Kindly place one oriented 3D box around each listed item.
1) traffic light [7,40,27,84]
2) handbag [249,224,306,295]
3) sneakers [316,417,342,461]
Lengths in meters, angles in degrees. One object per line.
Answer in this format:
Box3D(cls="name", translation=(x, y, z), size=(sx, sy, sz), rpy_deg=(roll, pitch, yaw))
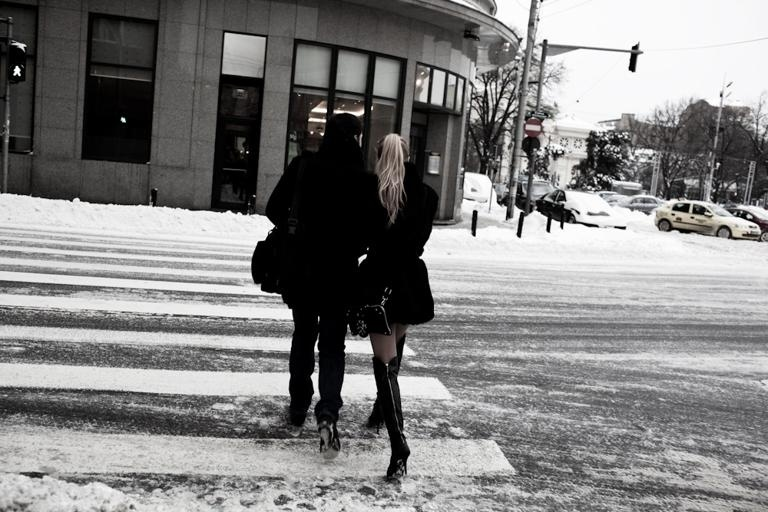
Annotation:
Box3D(cls="traffic light", translation=(-9.056, -4.761, 20.612), size=(0.392, 0.972, 0.378), rpy_deg=(3, 9, -18))
Box3D(cls="handbag", translation=(-1.155, 0.187, 9.672), size=(0.658, 0.928, 0.888), rpy_deg=(9, -9, -12))
Box3D(cls="sneakers", translation=(-0.605, 1.976, 9.010), size=(0.189, 0.477, 0.213), rpy_deg=(-3, 5, 3))
